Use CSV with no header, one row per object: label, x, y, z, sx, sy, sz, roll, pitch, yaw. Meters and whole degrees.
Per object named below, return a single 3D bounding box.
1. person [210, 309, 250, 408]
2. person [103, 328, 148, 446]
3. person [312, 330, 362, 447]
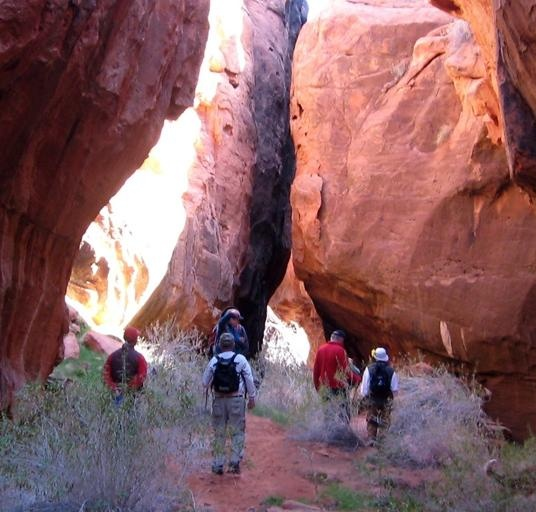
person,-0.488,1.372,8.115,0.376,1.171,0.577,-4,-43,-10
person,-1.536,1.291,6.342,0.464,1.163,0.936,3,0,-17
person,0.950,1.916,8.360,0.503,1.648,0.441,-4,-24,20
